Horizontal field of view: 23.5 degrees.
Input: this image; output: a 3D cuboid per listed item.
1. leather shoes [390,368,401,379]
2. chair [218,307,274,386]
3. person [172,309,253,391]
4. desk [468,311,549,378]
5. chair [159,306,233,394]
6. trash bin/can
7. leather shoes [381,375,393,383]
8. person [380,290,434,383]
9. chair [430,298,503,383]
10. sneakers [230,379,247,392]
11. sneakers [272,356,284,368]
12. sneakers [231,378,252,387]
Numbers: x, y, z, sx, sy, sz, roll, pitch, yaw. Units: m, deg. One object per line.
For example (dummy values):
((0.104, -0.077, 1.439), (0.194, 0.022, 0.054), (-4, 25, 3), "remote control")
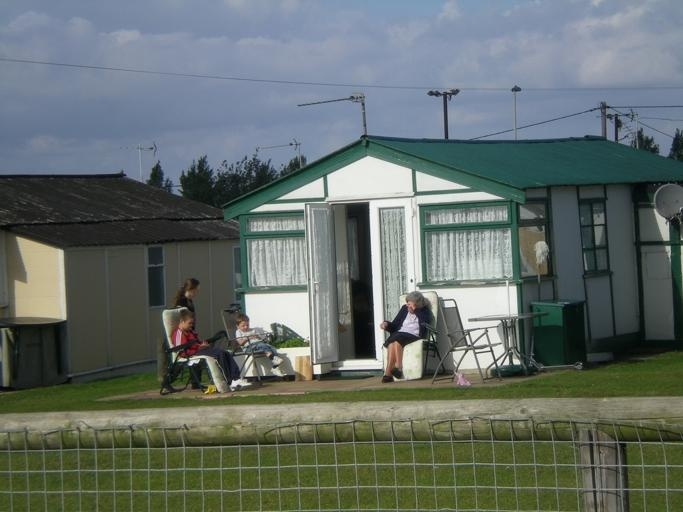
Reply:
((0.867, 1.802, 25.678), (0.108, 0.140, 0.314), (0, -11, 9), "leather shoes")
((-1.469, 1.469, 26.885), (0.793, 1.168, 0.701), (3, 5, 28), "chair")
((-2.056, 1.408, 25.783), (1.340, 1.329, 0.852), (-5, -1, 38), "person")
((2.619, 1.413, 25.847), (0.983, 1.011, 1.003), (-1, 2, 44), "desk")
((-2.192, 1.441, 25.765), (0.967, 1.229, 0.889), (-1, 10, 31), "chair")
((3.502, 1.184, 25.984), (0.910, 1.401, 0.917), (-3, 0, 17), "trash bin/can")
((0.767, 1.888, 25.633), (0.224, 0.122, 0.120), (-2, -3, -29), "leather shoes")
((1.028, 1.243, 25.854), (0.792, 1.388, 0.521), (-4, -3, 1), "person")
((2.051, 1.301, 26.051), (0.873, 1.250, 0.813), (-1, 1, 21), "chair")
((-1.624, 2.001, 25.744), (0.299, 0.150, 0.116), (-3, 3, 1), "sneakers")
((-1.022, 1.690, 26.669), (0.220, 0.148, 0.109), (-8, -1, 42), "sneakers")
((-1.563, 1.970, 25.826), (0.329, 0.154, 0.117), (1, -1, -1), "sneakers")
